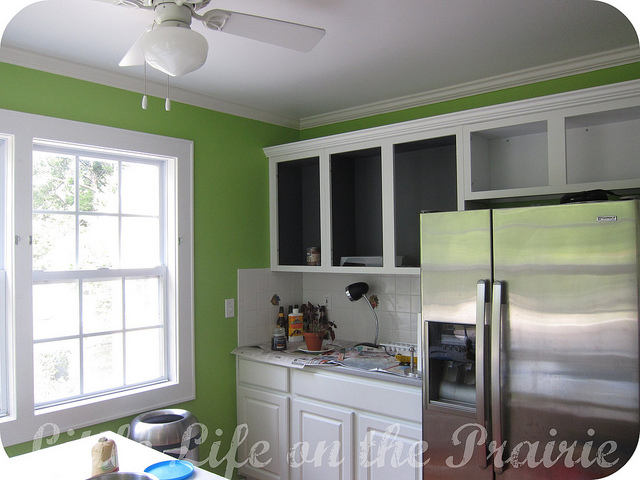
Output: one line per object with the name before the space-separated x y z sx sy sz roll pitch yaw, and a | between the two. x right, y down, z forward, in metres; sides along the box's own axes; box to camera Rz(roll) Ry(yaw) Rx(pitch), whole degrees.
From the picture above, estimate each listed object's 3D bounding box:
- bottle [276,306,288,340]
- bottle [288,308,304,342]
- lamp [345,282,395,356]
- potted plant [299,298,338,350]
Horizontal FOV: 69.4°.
bottle | -0.333 0.705 3.961 0.092 0.214 0.156 -5 2 -7
bottle | -0.208 0.724 3.904 0.100 0.218 0.163 -2 3 44
lamp | 0.395 0.535 3.414 0.449 0.655 0.337 1 1 28
potted plant | -0.023 0.699 3.644 0.247 0.388 0.216 -3 -11 24
